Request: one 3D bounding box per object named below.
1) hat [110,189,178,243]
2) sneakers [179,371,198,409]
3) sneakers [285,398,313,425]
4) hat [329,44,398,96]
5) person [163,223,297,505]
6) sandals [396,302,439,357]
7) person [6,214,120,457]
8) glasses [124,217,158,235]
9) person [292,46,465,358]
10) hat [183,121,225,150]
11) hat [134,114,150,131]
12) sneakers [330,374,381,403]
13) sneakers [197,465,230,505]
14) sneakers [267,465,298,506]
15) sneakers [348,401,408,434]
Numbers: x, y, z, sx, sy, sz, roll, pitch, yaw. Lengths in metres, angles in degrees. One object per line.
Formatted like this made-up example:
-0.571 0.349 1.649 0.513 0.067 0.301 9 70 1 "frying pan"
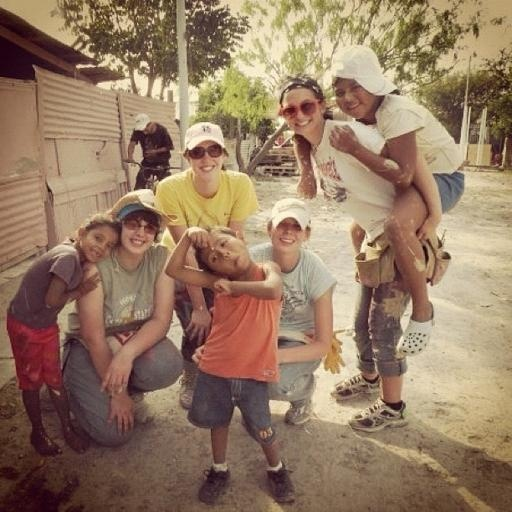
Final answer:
-0.791 -0.277 3.042 0.306 0.175 0.372 29 -15 -35 "hat"
-0.520 0.981 3.294 0.118 0.150 0.349 20 25 -24 "sneakers"
0.268 1.023 3.085 0.194 0.220 0.122 -4 30 -5 "sneakers"
0.670 -1.143 2.803 0.416 0.302 0.231 3 14 8 "hat"
-0.132 0.584 2.578 0.780 1.447 0.578 4 14 11 "person"
0.969 0.482 2.735 0.123 0.392 0.142 30 -16 -35 "sandals"
-1.233 0.469 2.919 0.691 1.399 0.595 -5 15 -24 "person"
-0.759 -0.190 2.965 0.217 0.108 0.101 -3 15 -17 "glasses"
0.839 -0.387 2.855 0.835 1.777 0.703 8 15 25 "person"
-0.385 -0.849 3.325 0.198 0.155 0.277 0 10 -6 "hat"
-2.266 -2.640 9.012 0.280 0.312 0.296 -1 14 -9 "hat"
0.716 0.964 3.427 0.414 0.202 0.157 -9 17 1 "sneakers"
-0.230 1.268 2.560 0.104 0.107 0.224 25 19 13 "sneakers"
0.139 1.288 2.528 0.102 0.219 0.090 -23 -29 14 "sneakers"
0.780 1.036 3.041 0.408 0.218 0.166 -3 15 -2 "sneakers"
